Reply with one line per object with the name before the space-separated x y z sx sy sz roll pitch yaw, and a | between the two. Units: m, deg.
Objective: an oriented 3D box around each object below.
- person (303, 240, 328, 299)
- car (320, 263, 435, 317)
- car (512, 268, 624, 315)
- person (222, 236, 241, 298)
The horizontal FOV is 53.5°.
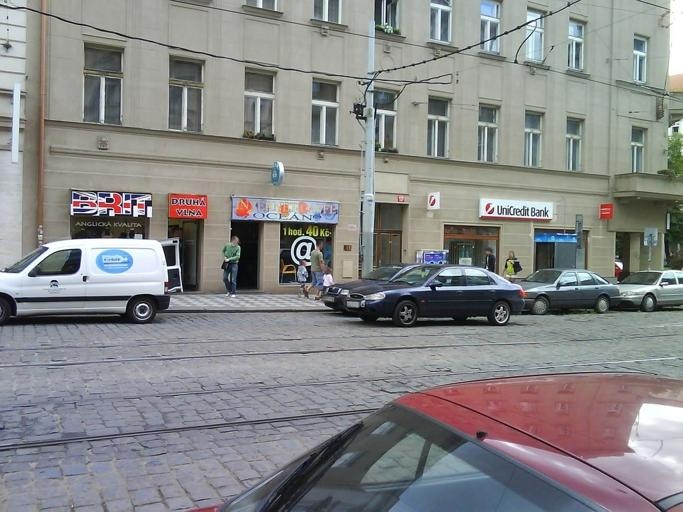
person | -0.791 0.473 21.601 0.562 1.868 0.670 1 1 17
car | 0.930 0.858 17.122 2.489 0.955 1.120 0 -2 -27
car | 6.983 1.136 20.818 2.870 1.106 1.455 2 -3 -23
person | -3.430 0.350 20.904 0.579 1.822 0.976 -8 6 -16
